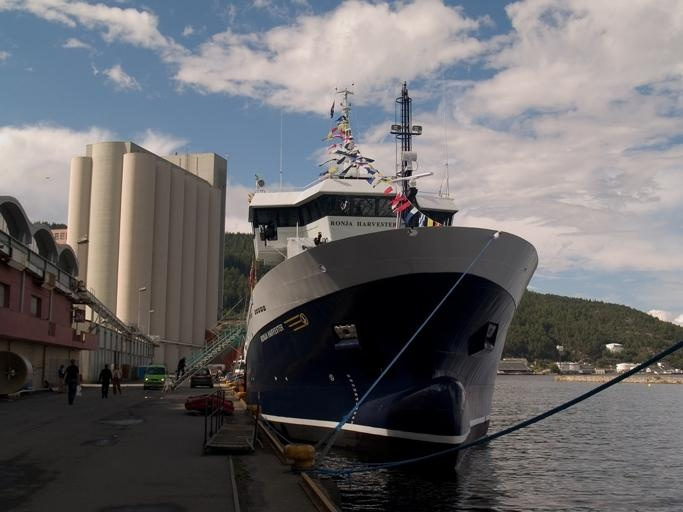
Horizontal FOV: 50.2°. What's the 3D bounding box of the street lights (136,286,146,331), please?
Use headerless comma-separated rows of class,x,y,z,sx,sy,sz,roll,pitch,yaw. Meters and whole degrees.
street lights,-16.886,4.204,61.055,0.418,3.467,0.708,-1,-6,24

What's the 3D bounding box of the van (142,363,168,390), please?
van,-11.006,7.125,42.922,1.264,1.330,2.114,3,-6,-14
